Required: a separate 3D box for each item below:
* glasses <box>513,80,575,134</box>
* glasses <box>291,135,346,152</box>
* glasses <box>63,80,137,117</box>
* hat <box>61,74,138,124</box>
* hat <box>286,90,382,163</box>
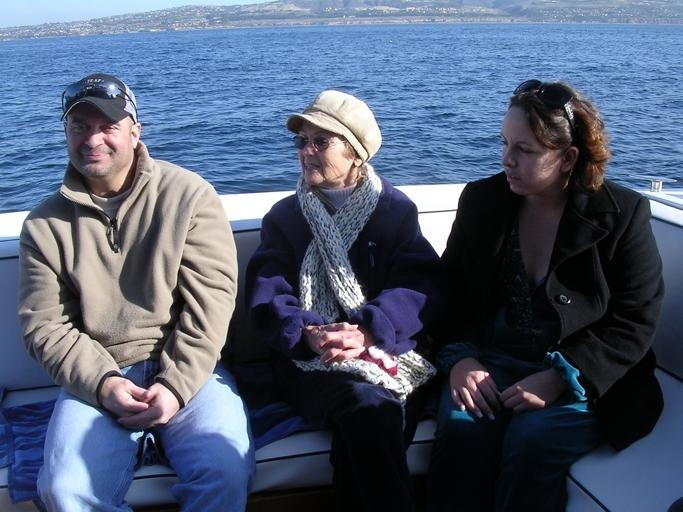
[{"bbox_3d":[0.914,-0.682,2.789,0.292,0.217,0.125,17,28,40],"label":"glasses"},{"bbox_3d":[-0.137,-0.562,3.043,0.138,0.047,0.141,3,5,26],"label":"glasses"},{"bbox_3d":[-1.137,-0.756,2.960,0.207,0.149,0.286,3,0,4],"label":"glasses"},{"bbox_3d":[-1.205,-0.733,2.924,0.276,0.183,0.367,-8,0,-30],"label":"hat"},{"bbox_3d":[-0.018,-0.696,3.209,0.550,0.321,0.367,8,10,-34],"label":"hat"}]
